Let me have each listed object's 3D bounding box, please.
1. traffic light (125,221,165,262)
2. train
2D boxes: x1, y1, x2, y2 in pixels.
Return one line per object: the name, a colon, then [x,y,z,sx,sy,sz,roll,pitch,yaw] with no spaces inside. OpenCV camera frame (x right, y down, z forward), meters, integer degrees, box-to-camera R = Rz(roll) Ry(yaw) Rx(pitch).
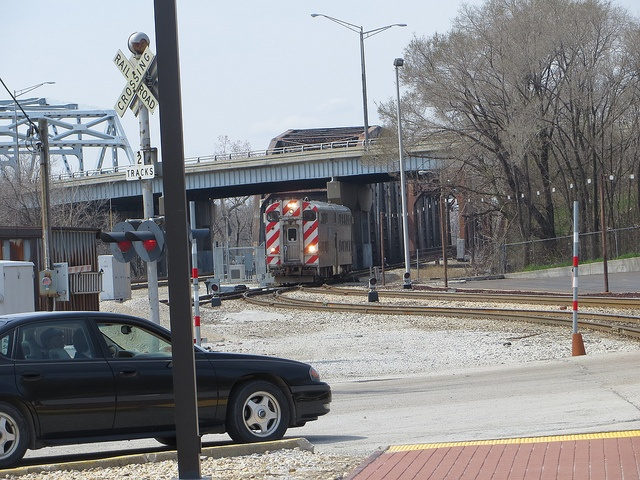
traffic light: [-2.957,0.035,16.541,0.682,0.748,0.652,-20,-12,32]
train: [-0.415,0.180,52.522,4.076,3.995,11.436,-4,-1,4]
